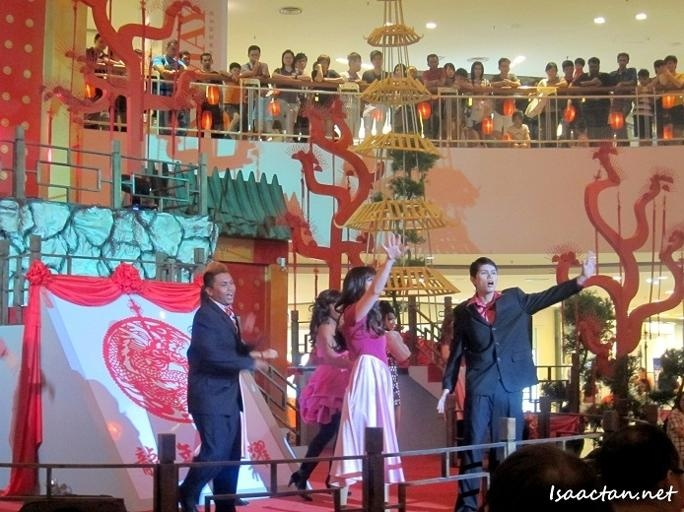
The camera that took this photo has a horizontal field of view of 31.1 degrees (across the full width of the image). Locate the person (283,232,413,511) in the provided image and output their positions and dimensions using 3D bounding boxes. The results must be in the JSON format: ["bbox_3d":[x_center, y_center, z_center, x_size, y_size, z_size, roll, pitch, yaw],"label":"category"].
[{"bbox_3d":[0.235,0.960,10.815,0.650,2.290,1.256,1,-1,-1],"label":"person"}]

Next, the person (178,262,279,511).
[{"bbox_3d":[-1.017,1.137,10.533,0.695,2.166,0.578,1,-1,2],"label":"person"}]
